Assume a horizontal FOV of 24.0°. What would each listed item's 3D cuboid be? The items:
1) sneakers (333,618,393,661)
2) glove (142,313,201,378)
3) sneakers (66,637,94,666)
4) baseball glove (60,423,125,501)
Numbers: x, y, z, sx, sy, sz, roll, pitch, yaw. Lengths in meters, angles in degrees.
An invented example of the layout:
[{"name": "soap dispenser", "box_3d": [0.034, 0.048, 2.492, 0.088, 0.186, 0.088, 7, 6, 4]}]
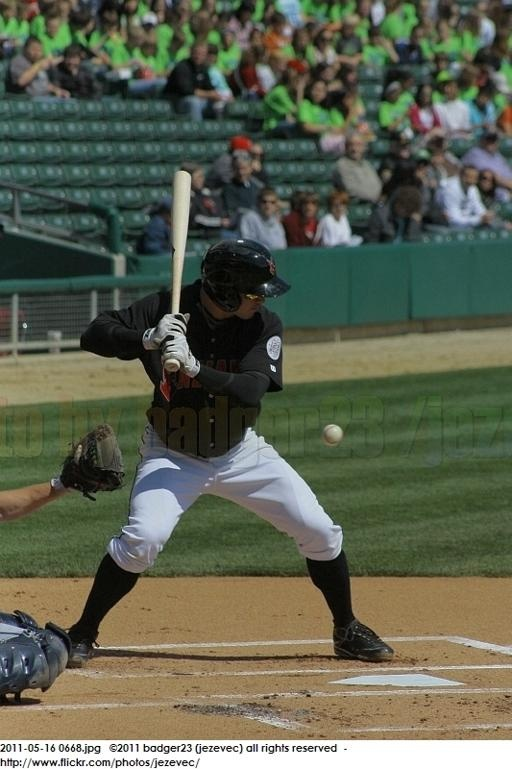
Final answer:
[{"name": "sneakers", "box_3d": [0.364, 0.901, 4.247, 0.242, 0.104, 0.108, 1, 2, 36]}, {"name": "glove", "box_3d": [-0.257, -0.125, 3.701, 0.213, 0.188, 0.058, 7, -29, 13]}, {"name": "sneakers", "box_3d": [-0.577, 0.896, 4.002, 0.055, 0.063, 0.141, 1, 1, 1]}, {"name": "baseball glove", "box_3d": [-0.467, 0.235, 3.591, 0.191, 0.222, 0.125, -5, -37, 28]}]
